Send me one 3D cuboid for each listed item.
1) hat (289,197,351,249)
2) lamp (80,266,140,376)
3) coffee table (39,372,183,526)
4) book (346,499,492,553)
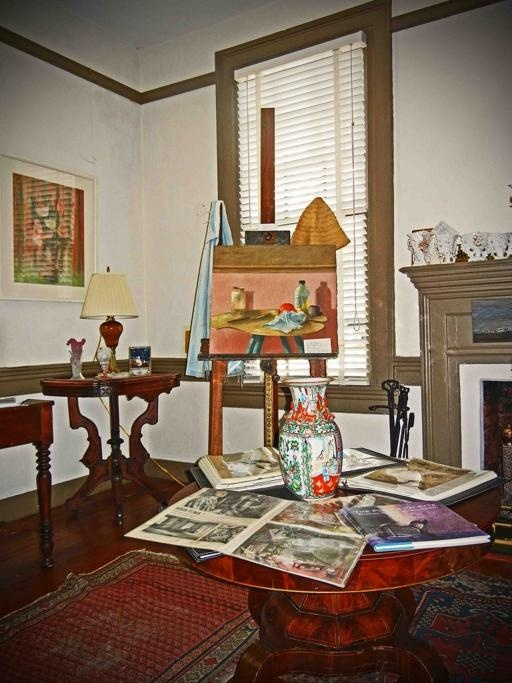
[{"bbox_3d":[0.321,-0.628,2.854,0.304,0.190,0.269,14,-30,15],"label":"hat"},{"bbox_3d":[-0.881,-0.107,3.275,0.305,0.578,0.500,-2,1,-17],"label":"lamp"},{"bbox_3d":[-0.792,0.573,3.137,0.509,0.765,0.813,0,3,36],"label":"coffee table"},{"bbox_3d":[0.294,0.362,1.073,0.216,0.032,0.229,-2,2,-10],"label":"book"}]
